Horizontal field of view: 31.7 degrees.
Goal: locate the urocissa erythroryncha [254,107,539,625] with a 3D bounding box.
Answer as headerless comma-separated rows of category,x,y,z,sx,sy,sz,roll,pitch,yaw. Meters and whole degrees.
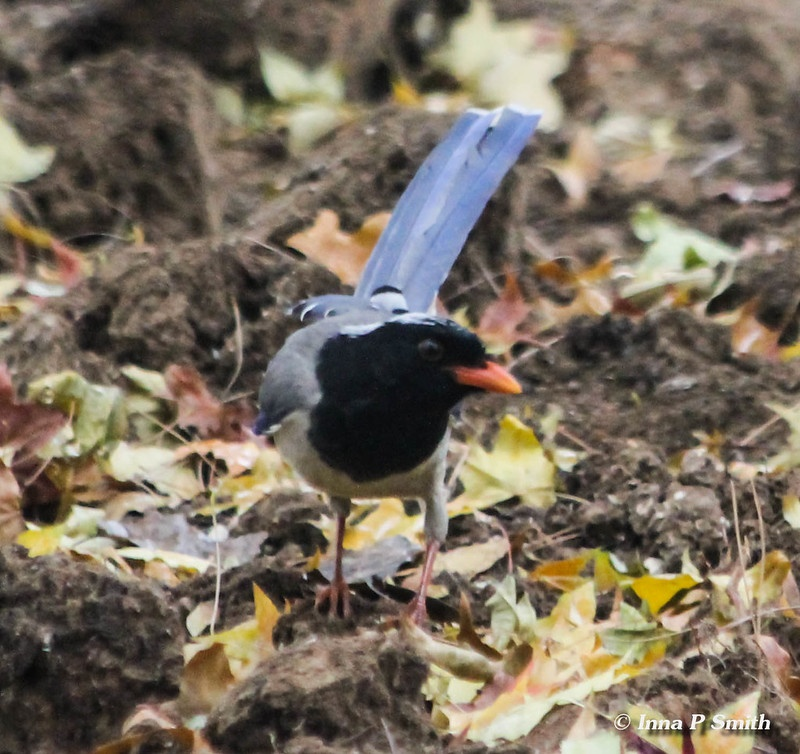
urocissa erythroryncha,-0.051,-0.110,5.076,0.782,2.246,1.436,7,-71,-12
